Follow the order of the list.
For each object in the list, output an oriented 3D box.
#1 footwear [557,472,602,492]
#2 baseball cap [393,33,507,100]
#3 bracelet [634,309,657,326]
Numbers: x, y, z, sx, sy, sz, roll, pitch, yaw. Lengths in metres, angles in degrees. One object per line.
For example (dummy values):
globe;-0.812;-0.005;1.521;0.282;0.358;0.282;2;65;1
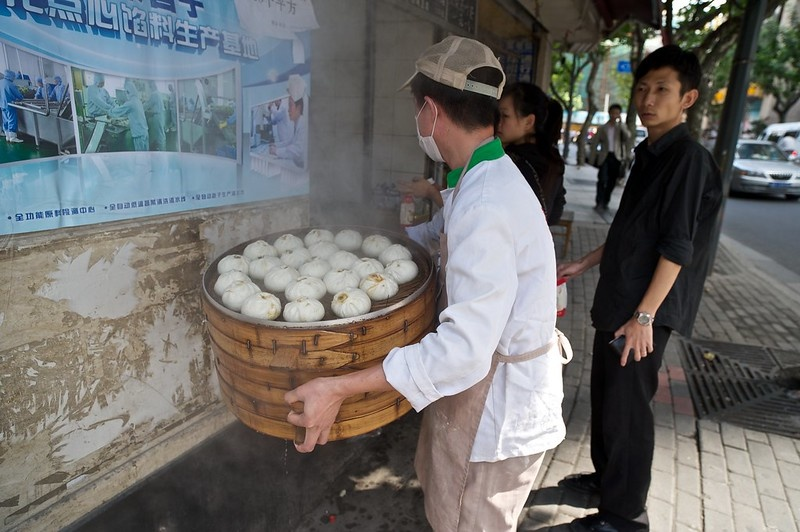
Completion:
footwear;1.402;1.721;4.057;0.322;0.152;0.126;6;12;10
baseball cap;0.319;-1.135;2.878;0.447;0.254;0.313;24;28;24
bracelet;1.632;0.354;3.434;0.116;0.079;0.112;33;16;24
